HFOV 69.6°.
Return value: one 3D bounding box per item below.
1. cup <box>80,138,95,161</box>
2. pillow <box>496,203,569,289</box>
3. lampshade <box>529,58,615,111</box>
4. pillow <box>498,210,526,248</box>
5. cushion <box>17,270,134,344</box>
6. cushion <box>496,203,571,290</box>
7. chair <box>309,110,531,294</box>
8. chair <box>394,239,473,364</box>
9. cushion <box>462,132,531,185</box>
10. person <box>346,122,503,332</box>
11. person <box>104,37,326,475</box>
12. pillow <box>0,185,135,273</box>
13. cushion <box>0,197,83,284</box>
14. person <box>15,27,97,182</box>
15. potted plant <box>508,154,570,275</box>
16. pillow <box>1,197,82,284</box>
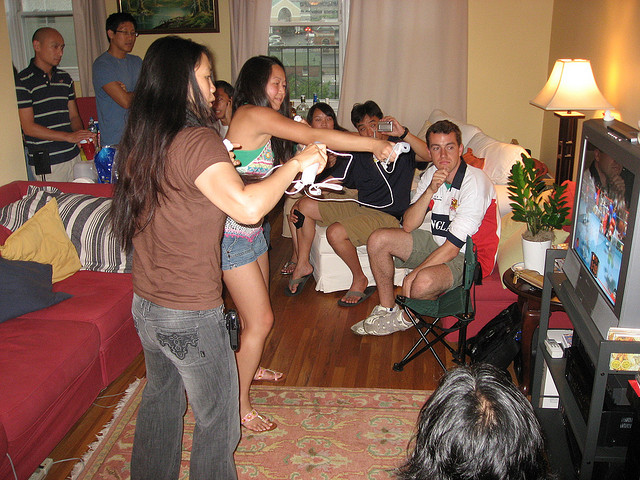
[{"bbox_3d":[-1.943,-0.774,3.849,0.107,0.191,0.145,-11,38,-22],"label":"cup"},{"bbox_3d":[1.178,0.036,2.869,0.479,0.488,0.400,2,38,7],"label":"pillow"},{"bbox_3d":[2.116,-1.256,3.853,0.582,0.437,0.631,8,7,25],"label":"lampshade"},{"bbox_3d":[1.228,-0.109,3.063,0.216,0.235,0.104,-17,11,25],"label":"pillow"},{"bbox_3d":[-1.305,0.343,2.743,0.465,0.124,0.482,1,23,-4],"label":"cushion"},{"bbox_3d":[1.193,0.068,2.845,0.490,0.521,0.412,4,40,10],"label":"cushion"},{"bbox_3d":[0.946,0.170,4.198,1.463,0.966,2.176,-4,43,19],"label":"chair"},{"bbox_3d":[0.715,0.321,2.875,0.453,0.904,0.762,3,16,12],"label":"chair"},{"bbox_3d":[1.450,-0.678,3.785,0.312,0.324,0.941,2,16,8],"label":"cushion"},{"bbox_3d":[0.817,-0.269,3.538,1.324,1.637,0.914,-8,24,-14],"label":"person"},{"bbox_3d":[-0.418,0.164,1.632,0.666,1.656,0.298,5,16,21],"label":"person"},{"bbox_3d":[-1.523,-0.041,2.741,0.350,0.123,0.415,-23,73,-48],"label":"pillow"},{"bbox_3d":[-1.734,0.007,2.871,0.129,0.462,0.423,-5,32,32],"label":"cushion"},{"bbox_3d":[-2.352,-1.155,3.998,0.505,1.358,1.231,-9,17,-29],"label":"person"},{"bbox_3d":[1.240,-0.089,2.501,0.334,0.655,0.340,-6,3,16],"label":"potted plant"},{"bbox_3d":[-1.736,0.015,2.865,0.126,0.455,0.401,-6,29,32],"label":"pillow"}]
